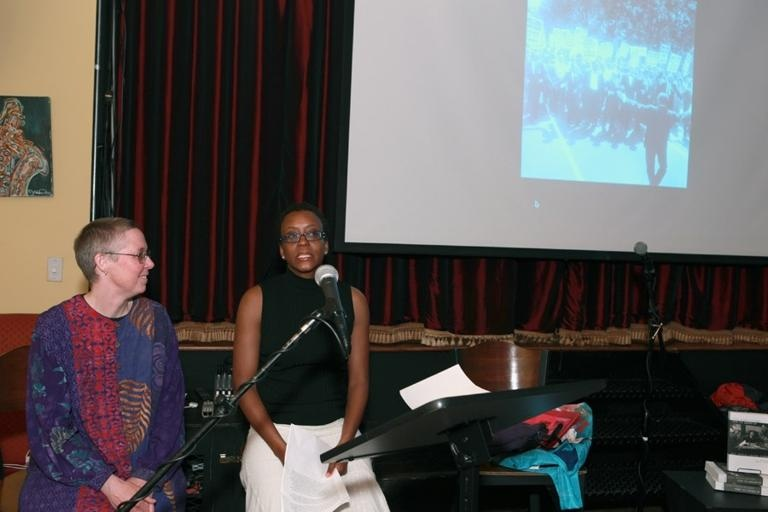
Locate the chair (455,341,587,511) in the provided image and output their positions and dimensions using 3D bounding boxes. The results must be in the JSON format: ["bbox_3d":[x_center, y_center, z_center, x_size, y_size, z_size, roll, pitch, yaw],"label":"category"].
[{"bbox_3d":[0.726,1.069,4.229,0.548,1.094,0.507,-1,5,1],"label":"chair"}]

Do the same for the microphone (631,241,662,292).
[{"bbox_3d":[1.762,0.063,4.820,0.083,0.374,0.110,-8,36,39],"label":"microphone"}]
